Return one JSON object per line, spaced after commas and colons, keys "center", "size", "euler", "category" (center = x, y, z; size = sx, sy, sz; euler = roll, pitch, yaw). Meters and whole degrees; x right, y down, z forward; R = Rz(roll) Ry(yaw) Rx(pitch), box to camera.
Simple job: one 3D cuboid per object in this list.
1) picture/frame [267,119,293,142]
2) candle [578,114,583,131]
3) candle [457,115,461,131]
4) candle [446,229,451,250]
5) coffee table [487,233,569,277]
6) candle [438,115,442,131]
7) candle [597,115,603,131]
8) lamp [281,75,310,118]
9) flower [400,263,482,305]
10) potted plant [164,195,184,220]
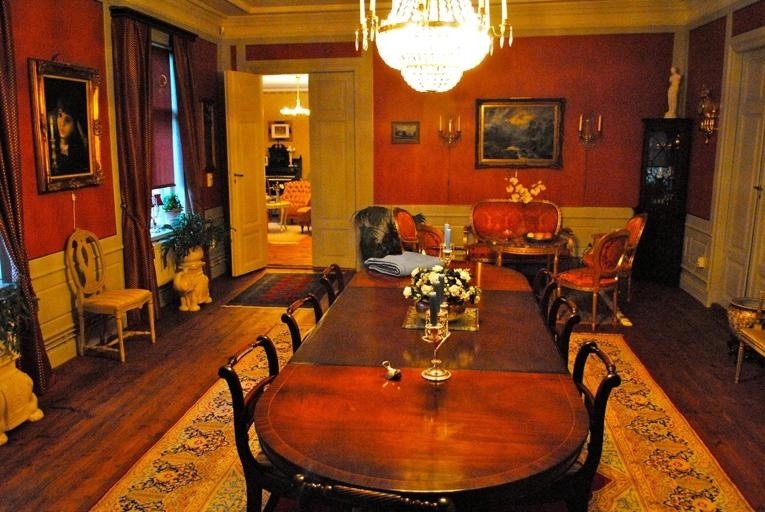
{"center": [-2.749, -3.431, 14.645], "size": [0.617, 0.512, 0.059], "euler": [1, 15, 2], "category": "picture/frame"}
{"center": [2.946, -2.001, 8.117], "size": [0.086, 0.238, 0.053], "euler": [-13, 18, -35], "category": "candle"}
{"center": [1.168, -2.041, 8.324], "size": [0.057, 0.223, 0.046], "euler": [0, 15, 7], "category": "candle"}
{"center": [0.501, -0.137, 4.237], "size": [0.034, 0.145, 0.071], "euler": [1, 15, 14], "category": "candle"}
{"center": [1.922, -0.144, 7.282], "size": [0.865, 0.837, 0.856], "euler": [-1, 5, -3], "category": "coffee table"}
{"center": [0.886, -2.056, 8.365], "size": [0.082, 0.234, 0.043], "euler": [-1, 15, 4], "category": "candle"}
{"center": [3.225, -1.986, 8.080], "size": [0.068, 0.227, 0.052], "euler": [0, 15, 8], "category": "candle"}
{"center": [-2.160, -4.093, 13.869], "size": [0.759, 0.833, 0.748], "euler": [6, 27, 4], "category": "lamp"}
{"center": [0.423, 0.191, 3.780], "size": [0.365, 0.250, 0.359], "euler": [2, -3, 3], "category": "flower"}
{"center": [-2.801, -0.650, 7.272], "size": [0.188, 0.287, 0.215], "euler": [20, 40, 11], "category": "potted plant"}
